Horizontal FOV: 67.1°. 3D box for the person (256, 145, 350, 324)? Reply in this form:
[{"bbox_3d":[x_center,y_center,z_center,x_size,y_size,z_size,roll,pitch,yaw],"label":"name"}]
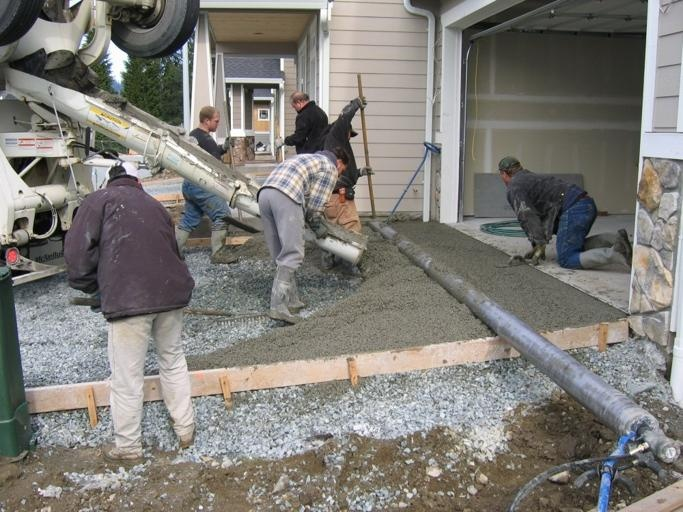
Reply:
[{"bbox_3d":[-0.395,-0.194,4.935,0.842,1.584,0.451,-11,14,-38],"label":"person"}]

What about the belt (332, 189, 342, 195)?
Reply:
[{"bbox_3d":[-0.051,-0.808,6.427,0.080,0.064,0.026,0,2,43],"label":"belt"}]

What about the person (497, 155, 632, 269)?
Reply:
[{"bbox_3d":[2.586,-0.550,6.244,0.828,1.407,1.773,-7,8,-35],"label":"person"}]

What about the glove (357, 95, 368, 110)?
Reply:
[{"bbox_3d":[0.250,-1.977,6.549,0.116,0.247,0.334,-1,10,-1],"label":"glove"}]

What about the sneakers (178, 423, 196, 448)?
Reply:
[{"bbox_3d":[-1.064,1.269,3.618,0.093,0.163,0.158,6,30,3],"label":"sneakers"}]

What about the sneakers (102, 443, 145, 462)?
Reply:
[{"bbox_3d":[-1.447,1.346,3.441,0.220,0.108,0.105,12,9,-9],"label":"sneakers"}]

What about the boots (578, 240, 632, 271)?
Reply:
[{"bbox_3d":[2.873,0.017,5.663,0.319,0.159,0.335,-3,11,16],"label":"boots"}]

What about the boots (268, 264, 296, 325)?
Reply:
[{"bbox_3d":[-0.565,0.359,4.889,0.255,0.572,0.411,-3,11,-8],"label":"boots"}]

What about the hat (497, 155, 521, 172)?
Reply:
[{"bbox_3d":[2.091,-1.167,6.554,0.230,0.181,0.324,-8,20,1],"label":"hat"}]

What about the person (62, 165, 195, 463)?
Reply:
[{"bbox_3d":[-1.396,0.415,3.520,0.760,1.890,0.465,-7,12,-26],"label":"person"}]

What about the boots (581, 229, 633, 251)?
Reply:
[{"bbox_3d":[3.047,-0.175,5.954,0.223,0.171,0.535,28,-16,-14],"label":"boots"}]

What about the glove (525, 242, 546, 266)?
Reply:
[{"bbox_3d":[2.270,-0.014,6.075,0.289,0.177,0.111,-23,32,-39],"label":"glove"}]
